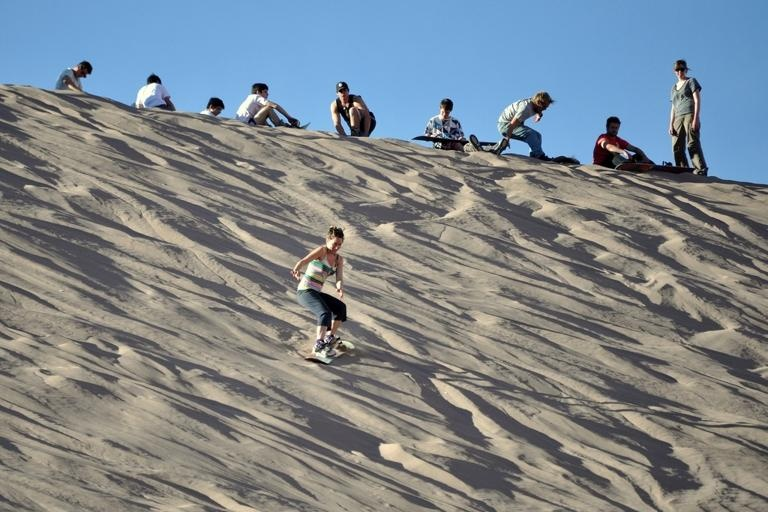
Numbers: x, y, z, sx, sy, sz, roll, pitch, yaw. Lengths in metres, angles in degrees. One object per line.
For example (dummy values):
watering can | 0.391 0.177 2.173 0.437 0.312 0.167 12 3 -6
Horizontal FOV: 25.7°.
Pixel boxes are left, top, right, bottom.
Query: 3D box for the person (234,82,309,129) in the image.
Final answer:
person | -1.572 -2.056 23.116 0.949 0.563 0.546 -4 7 -3

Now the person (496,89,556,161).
person | 1.874 -1.642 22.636 0.730 0.693 1.293 12 -20 5

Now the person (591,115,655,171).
person | 3.264 -1.520 23.015 0.921 0.548 0.655 7 10 37

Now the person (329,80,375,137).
person | -0.444 -1.894 23.290 0.615 0.789 0.700 15 -22 0
